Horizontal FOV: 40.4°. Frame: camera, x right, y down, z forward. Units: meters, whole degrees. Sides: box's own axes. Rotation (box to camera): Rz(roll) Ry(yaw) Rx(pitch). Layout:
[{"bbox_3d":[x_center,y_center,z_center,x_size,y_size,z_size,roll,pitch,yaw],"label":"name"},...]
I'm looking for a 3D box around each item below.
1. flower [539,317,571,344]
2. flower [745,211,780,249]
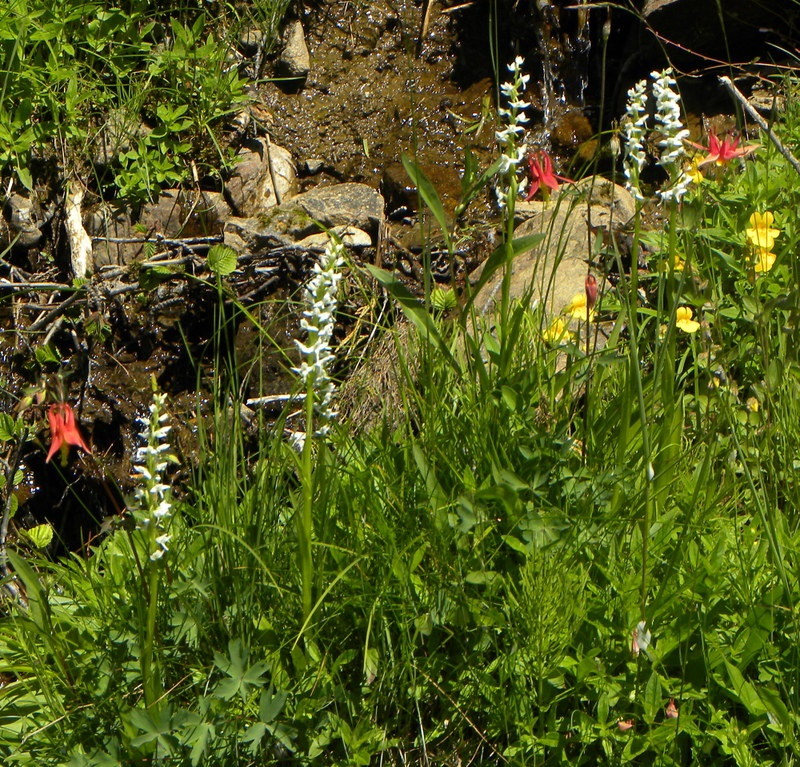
[{"bbox_3d":[0.454,-0.151,3.183,0.069,0.090,0.082,-1,43,21],"label":"flower"},{"bbox_3d":[1.082,-0.434,3.248,0.085,0.029,0.151,2,69,1],"label":"flower"}]
